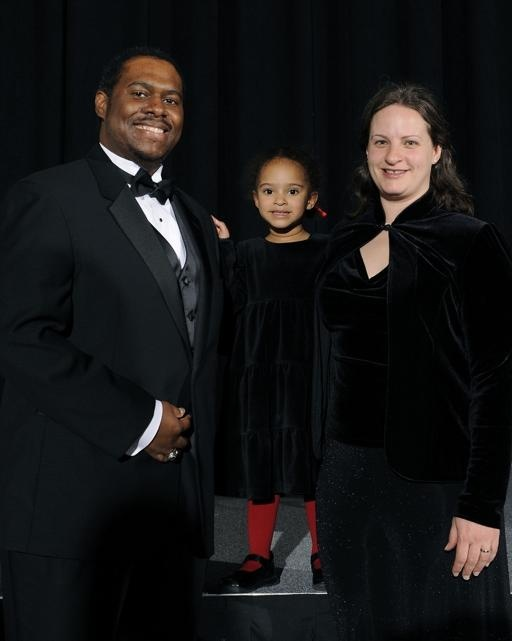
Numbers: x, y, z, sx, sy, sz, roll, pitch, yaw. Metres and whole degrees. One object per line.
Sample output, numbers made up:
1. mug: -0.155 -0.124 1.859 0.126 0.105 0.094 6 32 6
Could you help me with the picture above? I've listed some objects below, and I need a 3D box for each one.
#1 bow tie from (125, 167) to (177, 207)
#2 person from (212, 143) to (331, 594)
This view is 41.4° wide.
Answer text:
1. bow tie: -0.202 -0.263 1.309 0.057 0.063 0.059 8 14 39
2. person: 0.063 0.115 2.248 0.360 1.453 0.323 0 6 3
